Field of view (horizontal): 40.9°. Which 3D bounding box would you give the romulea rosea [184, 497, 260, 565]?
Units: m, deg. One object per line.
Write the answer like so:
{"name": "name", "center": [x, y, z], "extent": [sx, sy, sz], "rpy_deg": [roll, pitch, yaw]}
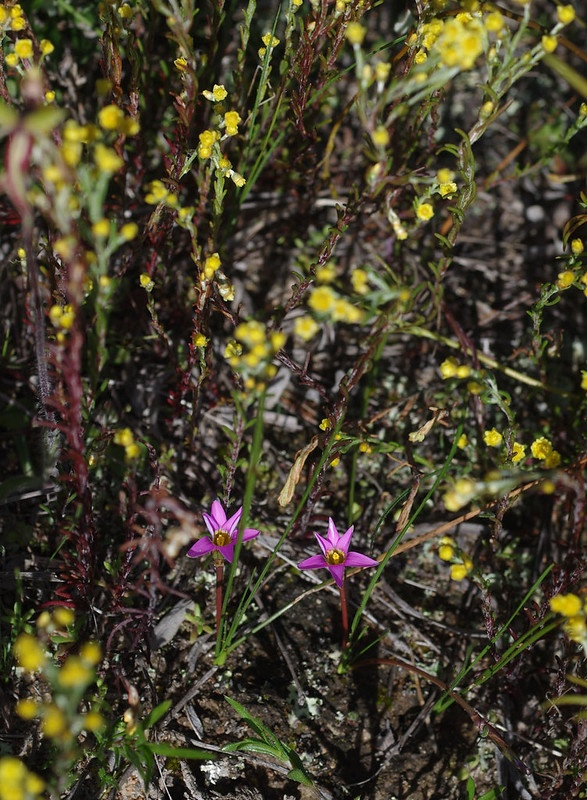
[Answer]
{"name": "romulea rosea", "center": [-0.123, 0.251, 1.486], "extent": [0.136, 0.050, 0.122], "rpy_deg": [25, 74, -1]}

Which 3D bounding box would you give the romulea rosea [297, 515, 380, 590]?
{"name": "romulea rosea", "center": [0.087, 0.303, 1.521], "extent": [0.174, 0.063, 0.136], "rpy_deg": [-16, 73, 3]}
